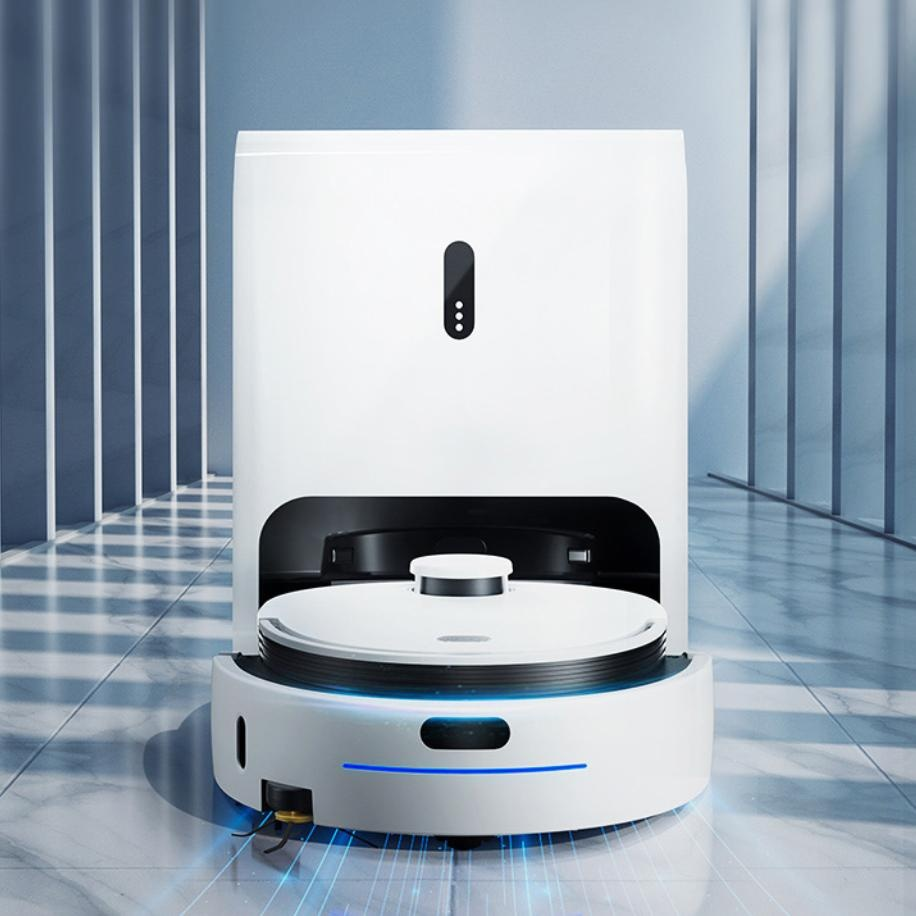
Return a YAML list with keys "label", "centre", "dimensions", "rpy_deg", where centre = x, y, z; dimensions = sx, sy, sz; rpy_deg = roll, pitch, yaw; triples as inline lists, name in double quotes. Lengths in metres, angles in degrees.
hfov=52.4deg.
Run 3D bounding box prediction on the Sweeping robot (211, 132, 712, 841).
- label: "Sweeping robot"
  centre: [-0.002, -0.034, 1.553]
  dimensions: [0.832, 0.922, 1.046]
  rpy_deg: [-1, 9, 7]
